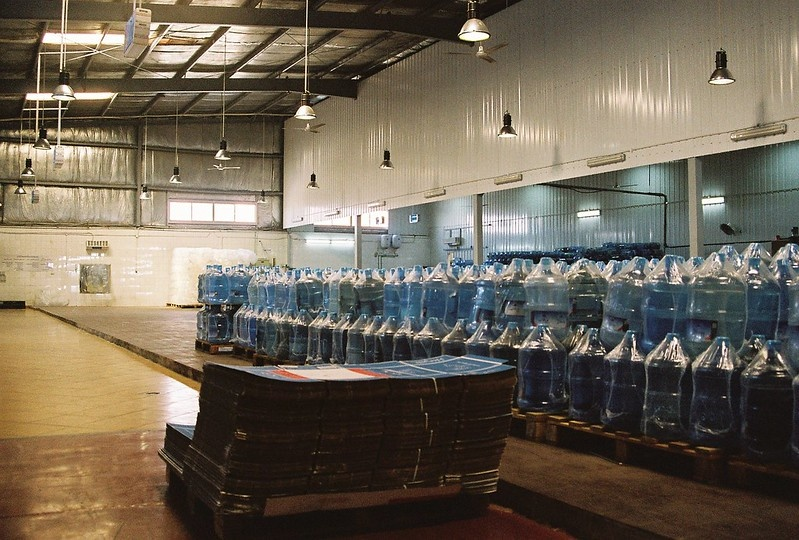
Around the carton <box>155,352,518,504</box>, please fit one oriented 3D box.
[{"bbox_3d":[-0.346,1.117,5.272,2.287,0.987,0.667,-1,2,-16],"label":"carton"}]

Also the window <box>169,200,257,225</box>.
[{"bbox_3d":[-6.632,-2.051,26.370,2.978,0.772,0.096,-1,2,-24],"label":"window"}]
